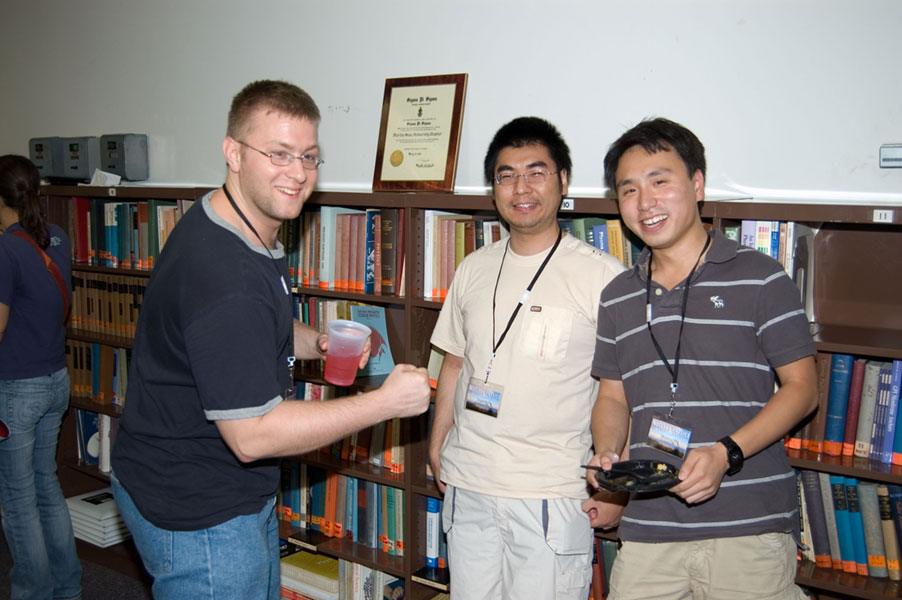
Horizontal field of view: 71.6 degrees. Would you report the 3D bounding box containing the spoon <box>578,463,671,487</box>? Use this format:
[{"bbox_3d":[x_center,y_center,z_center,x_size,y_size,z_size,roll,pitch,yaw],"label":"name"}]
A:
[{"bbox_3d":[0.692,0.637,2.324,0.170,0.029,0.136,-4,5,-8],"label":"spoon"}]

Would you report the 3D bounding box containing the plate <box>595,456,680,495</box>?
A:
[{"bbox_3d":[0.698,0.645,2.312,0.191,0.047,0.166,-1,9,-10],"label":"plate"}]

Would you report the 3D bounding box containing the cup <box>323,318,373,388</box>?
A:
[{"bbox_3d":[-0.428,0.208,2.727,0.241,0.273,0.245,9,5,-1],"label":"cup"}]

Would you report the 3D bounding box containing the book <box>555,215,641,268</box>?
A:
[{"bbox_3d":[0.700,-0.255,2.997,0.272,0.270,0.265,-1,5,-35],"label":"book"}]
